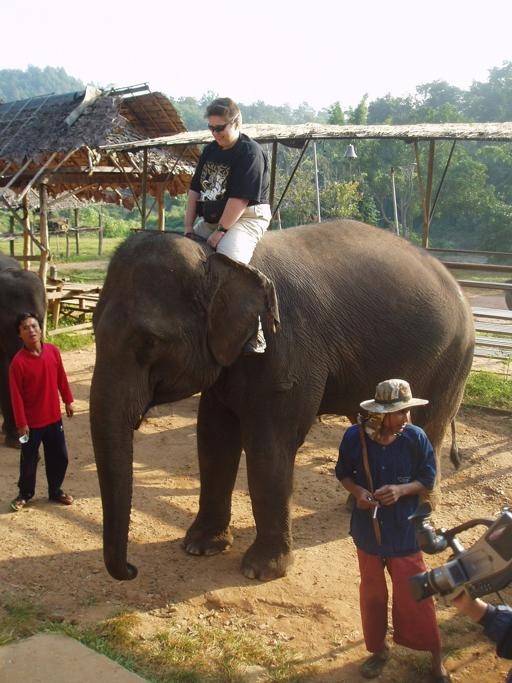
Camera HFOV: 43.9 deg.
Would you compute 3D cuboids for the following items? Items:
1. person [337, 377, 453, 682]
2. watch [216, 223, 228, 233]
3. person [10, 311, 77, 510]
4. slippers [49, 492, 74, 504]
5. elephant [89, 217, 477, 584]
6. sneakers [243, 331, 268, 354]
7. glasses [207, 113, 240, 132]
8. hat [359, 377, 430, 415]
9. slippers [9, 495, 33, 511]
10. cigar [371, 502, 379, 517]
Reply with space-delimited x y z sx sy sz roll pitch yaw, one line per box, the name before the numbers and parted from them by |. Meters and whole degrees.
person | 0.653 0.877 2.930 0.648 1.422 0.277 8 9 13
watch | -0.180 -0.597 3.351 0.053 0.044 0.048 3 28 -12
person | -1.574 0.500 4.615 0.524 1.400 0.487 0 10 -35
slippers | -1.444 1.172 4.716 0.212 0.074 0.074 0 5 26
elephant | -0.206 0.067 4.540 3.465 2.266 1.397 -4 8 -33
sneakers | -0.004 0.017 3.270 0.070 0.075 0.163 5 10 13
glasses | -0.181 -1.172 3.419 0.143 0.041 0.144 4 15 32
hat | 0.579 0.254 2.825 0.223 0.085 0.205 -12 3 -21
slippers | -1.693 1.165 4.552 0.066 0.050 0.153 15 -9 3
cigar | 0.532 0.751 2.843 0.022 0.015 0.090 -11 12 15
